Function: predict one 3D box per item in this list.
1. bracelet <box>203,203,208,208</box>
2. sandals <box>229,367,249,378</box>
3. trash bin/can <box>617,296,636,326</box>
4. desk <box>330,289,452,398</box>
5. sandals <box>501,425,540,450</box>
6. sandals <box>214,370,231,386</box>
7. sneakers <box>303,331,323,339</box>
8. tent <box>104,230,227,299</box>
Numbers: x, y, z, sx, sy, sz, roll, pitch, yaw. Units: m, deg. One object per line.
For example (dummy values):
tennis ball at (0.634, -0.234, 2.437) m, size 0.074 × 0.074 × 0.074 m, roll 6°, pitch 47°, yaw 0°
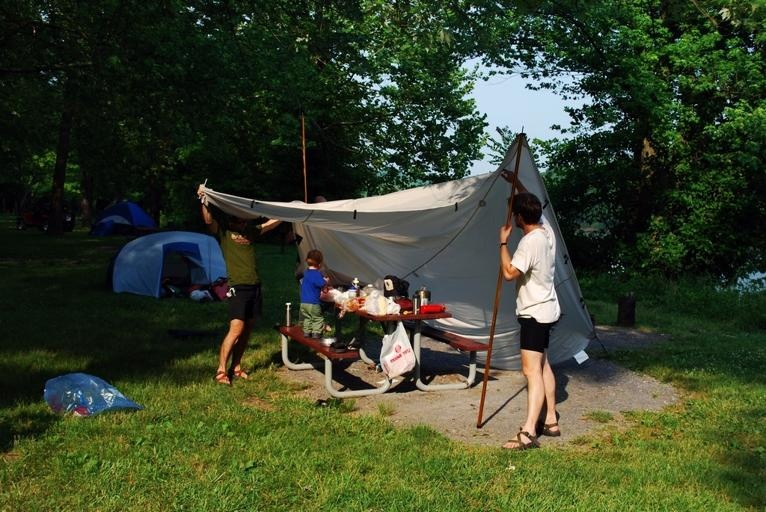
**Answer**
bracelet at (-3.252, -0.954, 13.423) m, size 0.033 × 0.081 × 0.138 m, roll 8°, pitch 12°, yaw 27°
sandals at (-2.760, 2.209, 14.022) m, size 0.429 × 0.180 × 0.170 m, roll 8°, pitch 0°, yaw 7°
trash bin/can at (6.446, 1.438, 19.381) m, size 0.445 × 0.803 × 0.387 m, roll 1°, pitch 11°, yaw -3°
desk at (0.238, 1.544, 13.748) m, size 2.059 × 0.988 × 2.042 m, roll -2°, pitch 5°, yaw -26°
sandals at (2.216, 2.966, 11.930) m, size 0.593 × 0.265 × 0.283 m, roll 2°, pitch -2°, yaw -22°
sandals at (-3.009, 2.263, 13.668) m, size 0.165 × 0.122 × 0.328 m, roll 3°, pitch 1°, yaw -32°
sneakers at (-1.334, 1.488, 13.916) m, size 0.127 × 0.161 × 0.344 m, roll 5°, pitch -6°, yaw -38°
tent at (-6.670, 0.104, 21.712) m, size 2.602 × 1.484 × 2.659 m, roll 1°, pitch 3°, yaw 36°
